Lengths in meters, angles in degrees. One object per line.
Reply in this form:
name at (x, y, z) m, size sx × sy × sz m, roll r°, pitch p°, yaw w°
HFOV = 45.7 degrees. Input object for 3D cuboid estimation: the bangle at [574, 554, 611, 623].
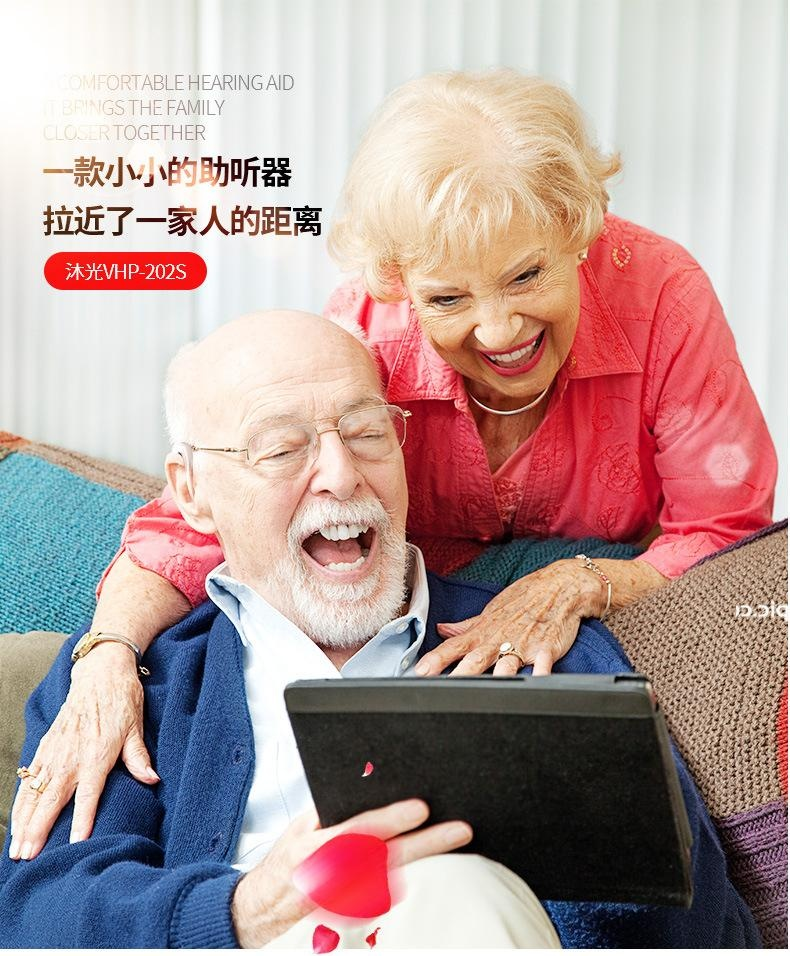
bangle at (0.310, 0.181, 1.575) m, size 0.025 × 0.083 × 0.066 m, roll -19°, pitch -12°, yaw -25°

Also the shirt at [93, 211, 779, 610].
shirt at (0.350, -0.229, 1.968) m, size 0.974 × 0.909 × 0.389 m, roll -20°, pitch 49°, yaw 14°

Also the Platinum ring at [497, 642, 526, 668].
Platinum ring at (0.170, 0.262, 1.398) m, size 0.035 × 0.037 × 0.037 m, roll -11°, pitch 44°, yaw 11°

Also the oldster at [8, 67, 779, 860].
oldster at (0.069, 0.132, 1.960) m, size 1.418 × 1.608 × 0.935 m, roll -4°, pitch 14°, yaw 1°

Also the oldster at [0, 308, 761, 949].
oldster at (-0.213, 0.181, 1.460) m, size 0.856 × 0.371 × 1.029 m, roll -7°, pitch 63°, yaw -2°

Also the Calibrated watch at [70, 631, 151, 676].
Calibrated watch at (-0.467, 0.288, 1.548) m, size 0.102 × 0.083 × 0.078 m, roll 4°, pitch 62°, yaw -26°

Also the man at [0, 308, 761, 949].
man at (-0.218, 0.141, 1.470) m, size 0.856 × 0.371 × 1.029 m, roll -7°, pitch 63°, yaw -2°
